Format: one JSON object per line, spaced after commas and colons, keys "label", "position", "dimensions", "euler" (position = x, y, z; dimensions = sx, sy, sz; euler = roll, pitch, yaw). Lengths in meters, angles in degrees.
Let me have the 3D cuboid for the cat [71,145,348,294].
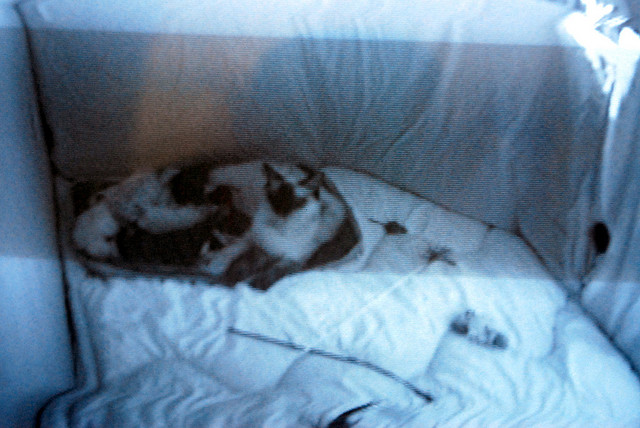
{"label": "cat", "position": [-0.552, 0.082, 2.367], "dimensions": [1.015, 0.297, 0.530], "euler": [15, 26, -1]}
